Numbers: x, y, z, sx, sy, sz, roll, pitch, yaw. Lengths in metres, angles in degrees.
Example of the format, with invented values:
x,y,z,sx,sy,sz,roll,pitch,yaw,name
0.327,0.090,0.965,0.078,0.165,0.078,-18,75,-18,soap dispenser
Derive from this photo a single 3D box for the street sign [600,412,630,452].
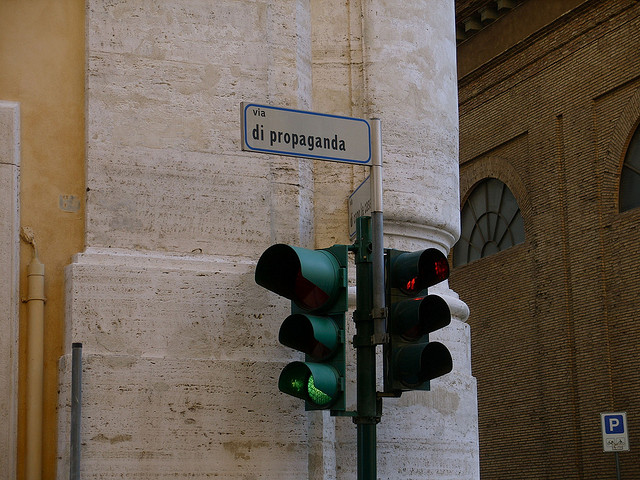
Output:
x,y,z,sx,sy,sz,roll,pitch,yaw,name
5.526,3.546,28.743,0.136,0.635,1.041,14,72,-48,street sign

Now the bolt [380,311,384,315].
x,y,z,sx,sy,sz,roll,pitch,yaw,name
0.672,0.807,16.883,0.034,0.034,0.040,12,81,-52,bolt

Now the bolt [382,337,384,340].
x,y,z,sx,sy,sz,roll,pitch,yaw,name
0.682,1.079,16.836,0.016,0.008,0.022,-6,71,-20,bolt

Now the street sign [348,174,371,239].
x,y,z,sx,sy,sz,roll,pitch,yaw,name
0.506,-0.350,17.674,0.092,0.899,0.554,5,68,-18,street sign
